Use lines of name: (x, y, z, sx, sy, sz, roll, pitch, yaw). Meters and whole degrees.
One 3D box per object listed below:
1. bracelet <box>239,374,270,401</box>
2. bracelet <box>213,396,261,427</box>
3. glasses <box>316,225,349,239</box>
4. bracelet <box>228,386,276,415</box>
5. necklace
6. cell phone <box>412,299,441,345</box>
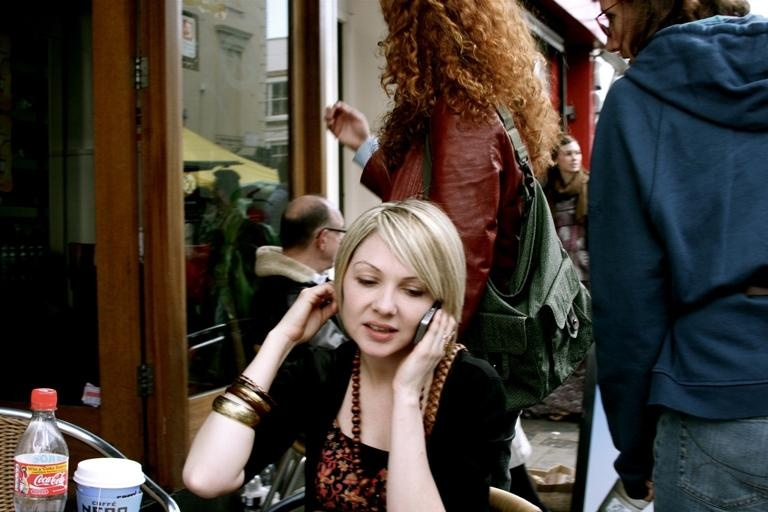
bracelet: (-0.420, 0.429, 2.266, 0.077, 0.021, 0.081, 36, -7, 9)
bracelet: (-0.473, 0.495, 2.226, 0.105, 0.041, 0.106, 31, -6, 9)
glasses: (-0.275, -0.131, 3.548, 0.152, 0.043, 0.146, 2, -34, -20)
bracelet: (-0.427, 0.461, 2.239, 0.104, 0.038, 0.106, 24, -7, 30)
necklace: (0.024, 0.520, 2.244, 0.339, 0.520, 0.112, -2, -7, 23)
cell phone: (0.130, 0.210, 2.177, 0.026, 0.108, 0.115, 27, 23, 19)
